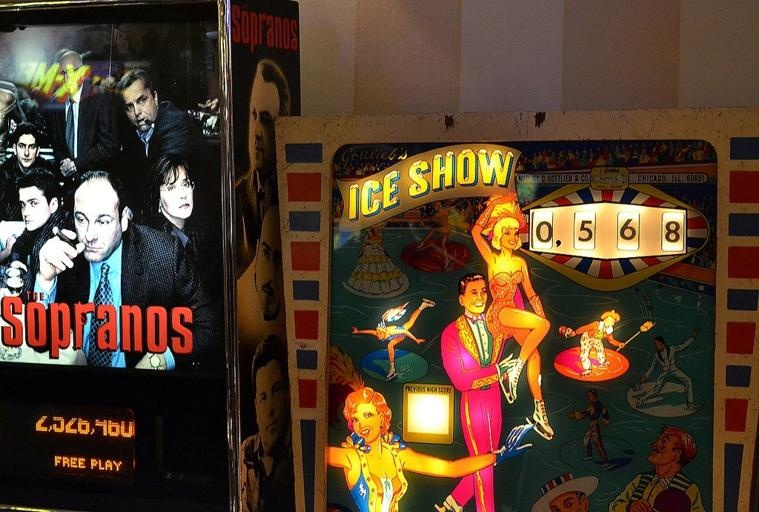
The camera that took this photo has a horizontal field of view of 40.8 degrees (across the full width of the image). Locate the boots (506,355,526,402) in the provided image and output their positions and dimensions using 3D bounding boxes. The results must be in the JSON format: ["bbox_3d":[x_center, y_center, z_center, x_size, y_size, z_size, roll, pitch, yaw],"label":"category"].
[{"bbox_3d":[0.466,0.415,3.500,0.045,0.163,0.062,-1,4,4],"label":"boots"}]
